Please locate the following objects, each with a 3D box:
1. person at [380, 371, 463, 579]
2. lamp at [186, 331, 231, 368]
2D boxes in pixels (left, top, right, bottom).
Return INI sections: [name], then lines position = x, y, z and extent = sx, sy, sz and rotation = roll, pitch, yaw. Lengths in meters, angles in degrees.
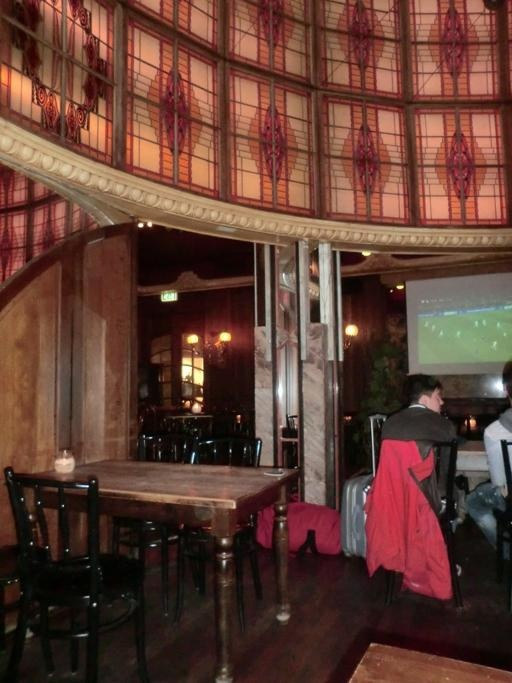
[person]
position = 1.002, 0.773, 3.554
extent = 0.319, 1.171, 0.321
rotation = 0, 12, 29
[lamp]
position = -0.917, 0.103, 12.191
extent = 1.032, 0.872, 0.618
rotation = -1, -19, 19
